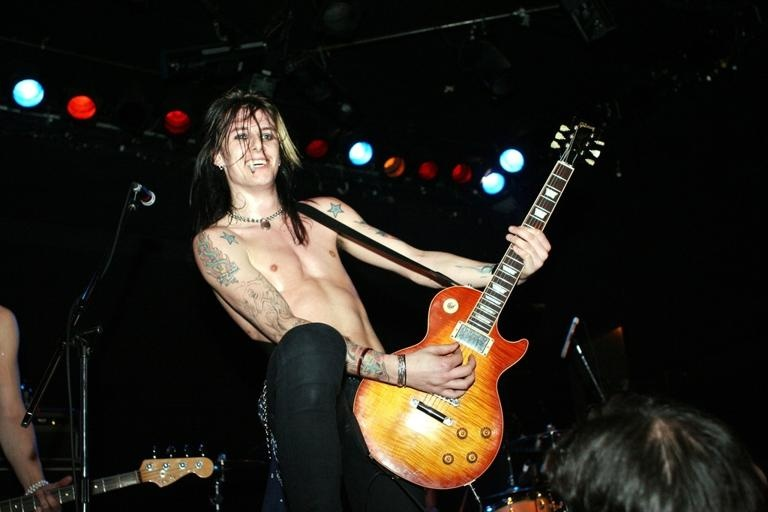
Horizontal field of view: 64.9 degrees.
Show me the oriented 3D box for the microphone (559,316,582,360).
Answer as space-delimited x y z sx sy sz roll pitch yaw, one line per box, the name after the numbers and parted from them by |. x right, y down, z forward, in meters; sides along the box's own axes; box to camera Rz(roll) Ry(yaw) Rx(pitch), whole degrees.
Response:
2.428 1.095 7.903 0.165 0.170 0.738 21 -43 15 | microphone

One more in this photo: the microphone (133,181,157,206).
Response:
-2.236 -0.568 5.558 0.173 0.124 0.179 10 -9 -10 | microphone

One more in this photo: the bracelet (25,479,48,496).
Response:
-3.316 2.215 5.724 0.199 0.096 0.154 -1 -13 44 | bracelet

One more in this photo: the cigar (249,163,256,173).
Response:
-1.183 -0.783 5.325 0.029 0.104 0.025 -20 -12 -34 | cigar

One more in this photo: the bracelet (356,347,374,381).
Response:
-0.174 0.822 4.661 0.097 0.220 0.082 8 -8 -1 | bracelet
